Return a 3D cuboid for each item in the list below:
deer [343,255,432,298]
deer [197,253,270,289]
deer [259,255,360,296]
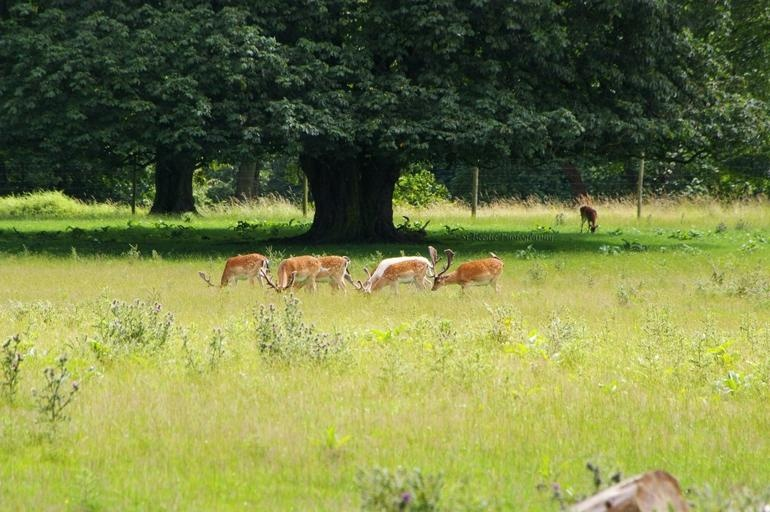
[{"bbox_3d":[0.273,0.540,34.444,2.641,1.571,0.822,-5,5,-9],"label":"deer"},{"bbox_3d":[-3.914,0.473,34.973,1.997,1.184,0.391,3,13,19],"label":"deer"},{"bbox_3d":[-2.168,0.515,34.682,2.909,1.301,0.917,-3,1,-17],"label":"deer"}]
